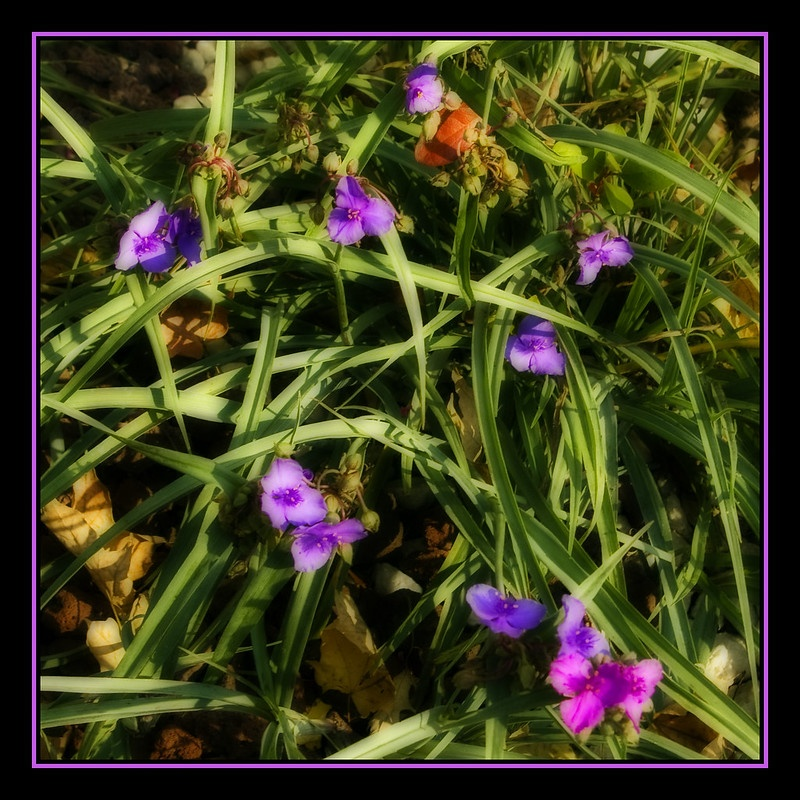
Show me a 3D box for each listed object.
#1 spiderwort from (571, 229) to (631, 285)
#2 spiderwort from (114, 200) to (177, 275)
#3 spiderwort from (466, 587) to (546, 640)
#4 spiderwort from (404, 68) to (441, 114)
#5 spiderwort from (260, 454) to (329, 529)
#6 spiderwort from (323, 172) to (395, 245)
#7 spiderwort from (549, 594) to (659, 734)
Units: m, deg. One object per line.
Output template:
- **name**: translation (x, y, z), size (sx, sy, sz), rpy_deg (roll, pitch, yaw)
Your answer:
- **spiderwort**: translation (0.369, -0.268, 1.462), size (0.097, 0.097, 0.028), rpy_deg (-14, 71, 13)
- **spiderwort**: translation (-0.452, -0.288, 1.423), size (0.099, 0.129, 0.059), rpy_deg (8, 9, -31)
- **spiderwort**: translation (0.169, 0.343, 1.282), size (0.112, 0.039, 0.083), rpy_deg (5, 43, -6)
- **spiderwort**: translation (0.045, -0.549, 1.404), size (0.070, 0.087, 0.078), rpy_deg (5, 32, 0)
- **spiderwort**: translation (-0.174, 0.155, 1.292), size (0.103, 0.098, 0.093), rpy_deg (-5, 33, -14)
- **spiderwort**: translation (-0.064, -0.323, 1.386), size (0.114, 0.143, 0.092), rpy_deg (3, 32, -2)
- **spiderwort**: translation (0.312, 0.445, 1.303), size (0.211, 0.219, 0.091), rpy_deg (-15, 13, -13)
